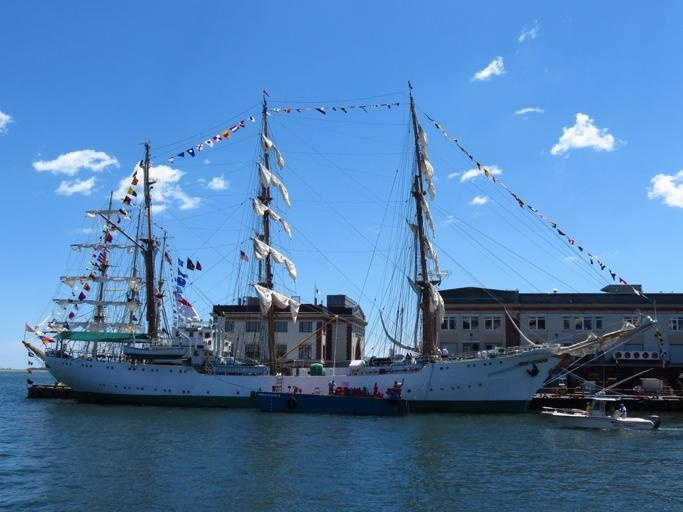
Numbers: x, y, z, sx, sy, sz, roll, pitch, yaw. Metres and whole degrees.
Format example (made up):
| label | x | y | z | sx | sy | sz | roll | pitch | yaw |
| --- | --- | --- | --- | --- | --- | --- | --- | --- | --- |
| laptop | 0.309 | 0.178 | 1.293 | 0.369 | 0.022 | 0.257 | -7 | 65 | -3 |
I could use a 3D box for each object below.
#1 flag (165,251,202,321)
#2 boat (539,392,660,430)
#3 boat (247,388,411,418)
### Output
| label | x | y | z | sx | sy | sz | roll | pitch | yaw |
| --- | --- | --- | --- | --- | --- | --- | --- | --- | --- |
| flag | -12.698 | 3.281 | 60.961 | 2.791 | 7.357 | 2.809 | -1 | -11 | 16 |
| boat | 22.591 | 13.455 | 65.671 | 8.252 | 3.089 | 6.058 | -3 | -13 | 16 |
| boat | -0.740 | 13.550 | 70.326 | 13.590 | 2.523 | 2.154 | -2 | -13 | 13 |
